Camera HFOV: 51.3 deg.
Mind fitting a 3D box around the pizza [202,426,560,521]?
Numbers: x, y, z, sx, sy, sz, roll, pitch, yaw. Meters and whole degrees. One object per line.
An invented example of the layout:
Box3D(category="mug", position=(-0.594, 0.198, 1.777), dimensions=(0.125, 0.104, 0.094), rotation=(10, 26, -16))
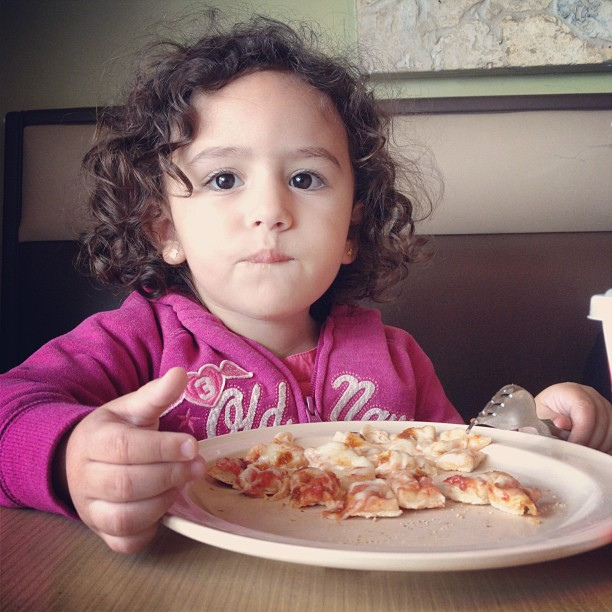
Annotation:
Box3D(category="pizza", position=(0.083, 0.174, 0.734), dimensions=(0.369, 0.036, 0.269), rotation=(3, 9, 5))

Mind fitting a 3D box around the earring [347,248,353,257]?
Box3D(category="earring", position=(0.090, -0.106, 1.252), dimensions=(0.007, 0.012, 0.012), rotation=(2, -6, 40))

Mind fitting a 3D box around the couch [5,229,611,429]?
Box3D(category="couch", position=(0.149, 0.104, 2.187), dimensions=(1.792, 0.470, 1.018), rotation=(-1, -3, 4))

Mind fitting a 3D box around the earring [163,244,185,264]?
Box3D(category="earring", position=(-0.231, -0.092, 1.130), dimensions=(0.024, 0.037, 0.060), rotation=(-5, 13, -35))
